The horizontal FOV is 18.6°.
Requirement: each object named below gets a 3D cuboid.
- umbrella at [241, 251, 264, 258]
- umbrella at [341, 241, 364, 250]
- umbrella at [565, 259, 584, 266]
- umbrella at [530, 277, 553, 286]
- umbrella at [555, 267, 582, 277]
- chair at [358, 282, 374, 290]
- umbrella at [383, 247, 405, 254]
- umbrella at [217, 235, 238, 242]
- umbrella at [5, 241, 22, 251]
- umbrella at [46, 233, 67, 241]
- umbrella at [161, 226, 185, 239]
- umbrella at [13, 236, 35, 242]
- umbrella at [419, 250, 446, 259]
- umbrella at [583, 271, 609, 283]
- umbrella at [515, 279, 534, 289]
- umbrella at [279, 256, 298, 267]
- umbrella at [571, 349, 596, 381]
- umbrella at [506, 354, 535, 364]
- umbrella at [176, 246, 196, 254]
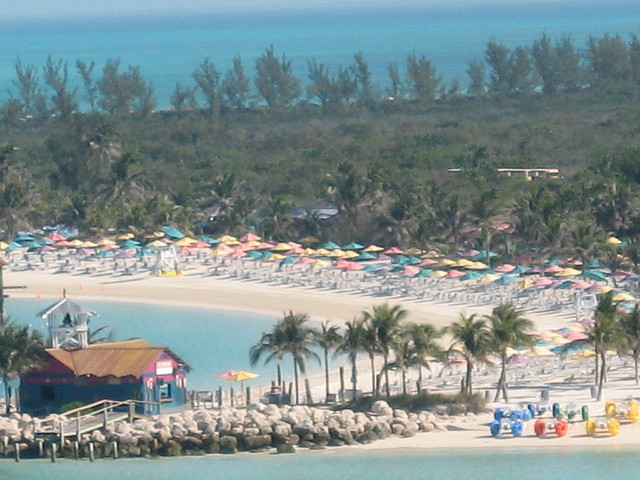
[{"bbox_3d":[-9.013,1.648,256.301,1.484,1.194,3.267,2,-7,-37],"label":"umbrella"},{"bbox_3d":[3.922,0.538,259.797,2.816,0.960,2.235,-1,-6,-11],"label":"umbrella"},{"bbox_3d":[32.030,2.709,248.720,2.538,0.842,1.418,-2,-6,-8],"label":"umbrella"},{"bbox_3d":[27.327,5.026,242.915,2.557,1.062,1.521,-3,-6,7],"label":"umbrella"},{"bbox_3d":[30.754,3.879,244.617,3.085,0.990,0.990,-6,-7,29],"label":"umbrella"},{"bbox_3d":[5.568,5.684,246.794,1.256,0.924,1.952,-6,-7,29],"label":"chair"},{"bbox_3d":[9.377,1.162,256.160,2.618,0.920,2.066,-3,-6,3],"label":"umbrella"},{"bbox_3d":[-12.709,-0.450,260.974,2.372,1.087,2.452,-4,-6,17],"label":"umbrella"},{"bbox_3d":[-41.028,0.521,259.496,1.975,1.228,2.924,-3,-6,3],"label":"umbrella"},{"bbox_3d":[-35.723,-0.618,262.091,2.019,1.141,2.624,0,-6,-20],"label":"umbrella"},{"bbox_3d":[-20.182,-1.355,261.903,2.243,0.610,1.672,17,14,17],"label":"umbrella"},{"bbox_3d":[-40.181,-0.408,262.866,2.694,0.881,1.335,-3,-6,1],"label":"umbrella"},{"bbox_3d":[14.363,1.713,254.117,3.201,1.242,2.882,-2,-6,-3],"label":"umbrella"},{"bbox_3d":[34.143,4.410,242.756,2.437,1.564,3.113,-1,-6,-15],"label":"umbrella"},{"bbox_3d":[25.258,5.296,242.937,1.920,1.229,1.056,-3,-6,4],"label":"umbrella"},{"bbox_3d":[-4.362,2.598,253.076,2.335,1.235,1.519,-1,-6,-14],"label":"umbrella"},{"bbox_3d":[30.364,14.521,226.910,3.932,3.666,3.701,-2,-4,36],"label":"umbrella"},{"bbox_3d":[23.161,13.763,227.066,1.746,1.009,3.858,-7,-8,38],"label":"umbrella"},{"bbox_3d":[-17.922,1.036,257.166,2.324,0.974,2.659,-2,-6,-2],"label":"umbrella"}]
